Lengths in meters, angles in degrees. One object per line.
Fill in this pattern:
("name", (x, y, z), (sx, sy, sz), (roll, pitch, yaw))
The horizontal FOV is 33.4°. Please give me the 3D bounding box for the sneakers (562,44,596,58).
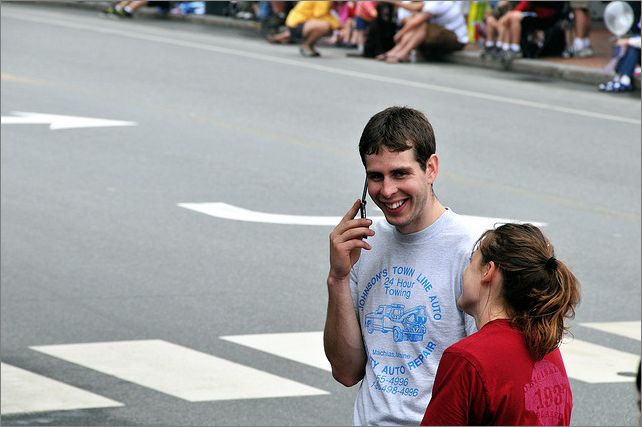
("sneakers", (4.490, -2.855, 18.976), (0.420, 0.167, 0.158), (11, 18, 39))
